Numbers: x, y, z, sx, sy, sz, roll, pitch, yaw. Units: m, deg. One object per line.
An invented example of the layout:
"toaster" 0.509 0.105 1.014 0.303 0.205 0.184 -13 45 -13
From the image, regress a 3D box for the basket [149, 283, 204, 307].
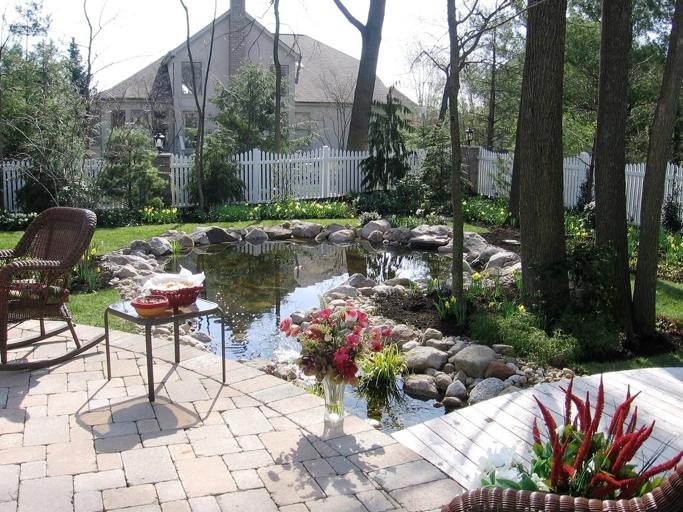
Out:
"basket" -1.458 0.356 5.202 0.229 0.109 0.248 -2 7 13

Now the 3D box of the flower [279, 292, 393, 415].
"flower" -0.038 0.756 5.065 0.876 1.195 0.940 0 -2 -2

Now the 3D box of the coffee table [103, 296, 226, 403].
"coffee table" -1.635 0.587 5.400 0.887 0.960 0.936 -12 19 -42
